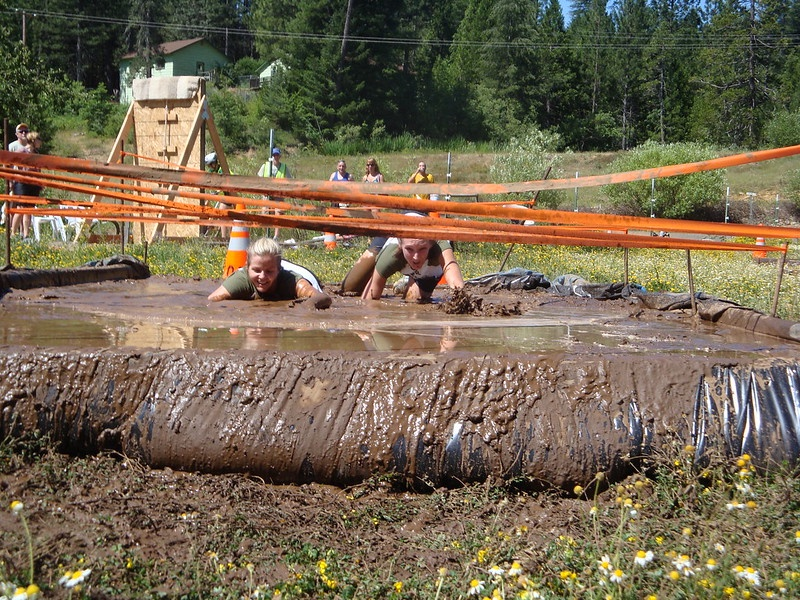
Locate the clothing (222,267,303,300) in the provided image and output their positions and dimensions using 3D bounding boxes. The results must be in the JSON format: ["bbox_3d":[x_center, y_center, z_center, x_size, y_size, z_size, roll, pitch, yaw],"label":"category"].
[{"bbox_3d":[-1.169,-0.131,8.425,0.627,0.250,0.250,0,6,-9],"label":"clothing"}]
